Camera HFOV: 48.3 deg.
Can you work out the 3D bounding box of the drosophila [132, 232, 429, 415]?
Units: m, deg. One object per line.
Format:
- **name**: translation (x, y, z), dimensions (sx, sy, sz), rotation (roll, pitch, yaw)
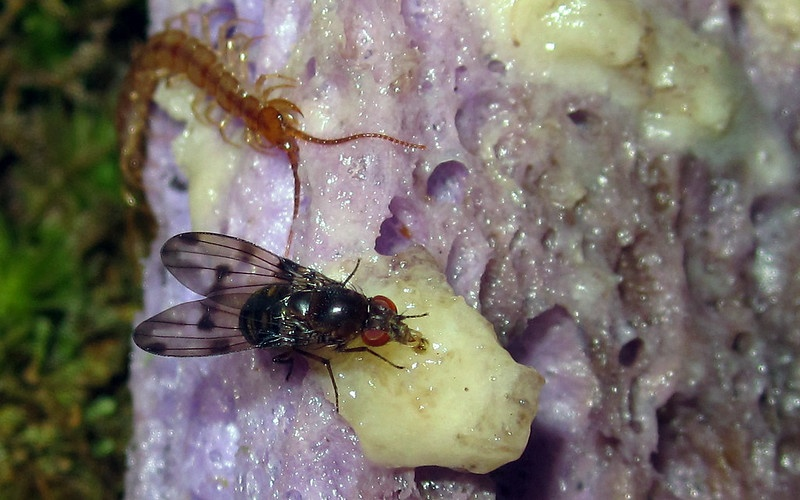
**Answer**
- **drosophila**: translation (-0.524, 0.248, 4.016), dimensions (1.163, 0.359, 0.811), rotation (3, 83, 17)
